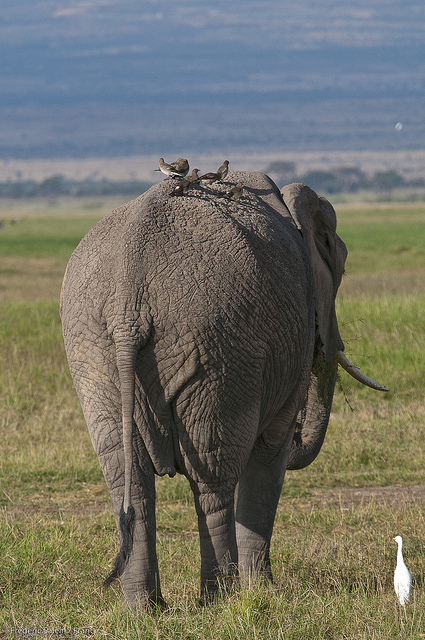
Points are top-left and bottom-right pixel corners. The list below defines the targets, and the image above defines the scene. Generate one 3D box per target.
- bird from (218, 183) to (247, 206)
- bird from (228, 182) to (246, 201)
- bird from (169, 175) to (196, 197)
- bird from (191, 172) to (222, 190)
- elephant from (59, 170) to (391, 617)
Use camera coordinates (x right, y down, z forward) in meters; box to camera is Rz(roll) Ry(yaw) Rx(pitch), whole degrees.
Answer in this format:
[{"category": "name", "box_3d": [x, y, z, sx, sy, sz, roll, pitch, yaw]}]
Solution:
[{"category": "bird", "box_3d": [0.138, -0.739, 8.292, 0.132, 0.101, 0.081, 5, 8, -4]}, {"category": "bird", "box_3d": [0.154, -0.753, 8.300, 0.108, 0.089, 0.053, -30, 33, -34]}, {"category": "bird", "box_3d": [-0.155, -0.752, 8.046, 0.062, 0.096, 0.152, 18, 40, 34]}, {"category": "bird", "box_3d": [-0.008, -0.818, 8.355, 0.186, 0.086, 0.065, -12, 12, -28]}, {"category": "elephant", "box_3d": [0.210, 0.342, 8.687, 1.198, 2.438, 2.767, 1, 8, 30]}]
